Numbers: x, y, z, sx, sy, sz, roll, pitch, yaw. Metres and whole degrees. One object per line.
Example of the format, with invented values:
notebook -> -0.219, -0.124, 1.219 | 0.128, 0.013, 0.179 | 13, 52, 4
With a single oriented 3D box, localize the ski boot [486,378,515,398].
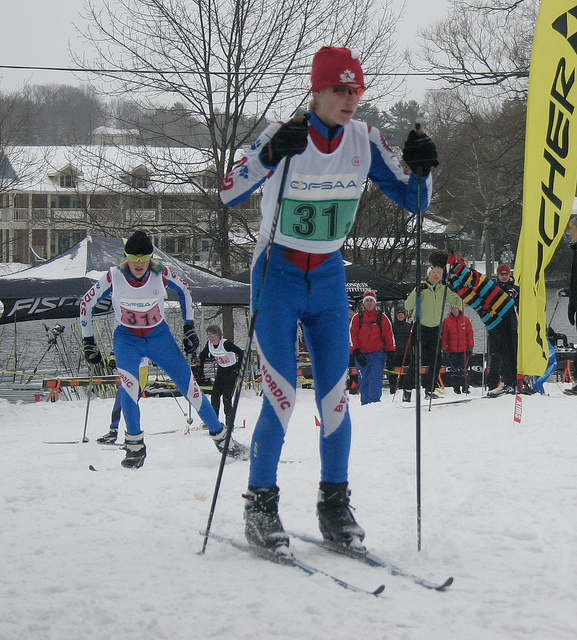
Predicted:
ski boot -> 2.303, 0.751, 10.289 | 0.404, 0.199, 0.123 | -10, 7, -32

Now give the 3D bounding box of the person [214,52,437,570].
person -> 0.178, -0.074, 4.549 | 0.926, 2.379, 0.578 | -3, 6, -22

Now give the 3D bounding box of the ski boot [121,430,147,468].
ski boot -> -1.173, 0.973, 7.103 | 0.186, 0.243, 0.299 | -2, 6, -11

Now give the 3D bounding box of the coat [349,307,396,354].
coat -> 1.058, 0.142, 11.836 | 0.550, 0.778, 0.455 | -2, 8, 3

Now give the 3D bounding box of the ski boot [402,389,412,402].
ski boot -> 1.451, 0.930, 11.515 | 0.104, 0.161, 0.171 | 1, -8, 1

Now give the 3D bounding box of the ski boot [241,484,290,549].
ski boot -> -0.102, 0.954, 4.532 | 0.145, 0.283, 0.421 | 4, 0, -26

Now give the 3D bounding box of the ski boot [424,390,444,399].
ski boot -> 1.752, 0.903, 11.198 | 0.093, 0.113, 0.272 | -1, -2, -13

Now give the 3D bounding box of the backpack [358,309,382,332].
backpack -> 1.034, 0.015, 11.787 | 0.294, 0.255, 0.242 | 1, -3, -2
